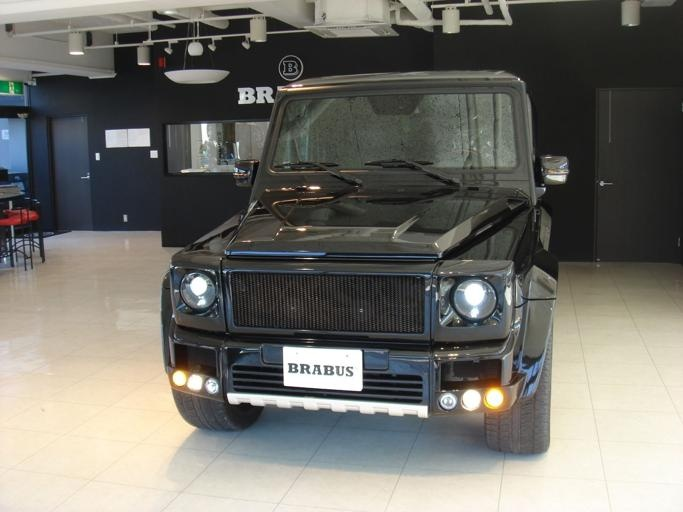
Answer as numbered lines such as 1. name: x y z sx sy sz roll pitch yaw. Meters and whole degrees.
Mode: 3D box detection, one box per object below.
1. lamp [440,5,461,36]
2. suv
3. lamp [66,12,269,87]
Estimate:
1. lamp: 1.615 -3.514 7.707 0.261 0.363 0.217 0 9 9
2. suv: 0.130 -0.005 2.725 1.830 2.061 1.416 2 10 21
3. lamp: -3.515 -4.308 10.685 2.865 0.841 1.165 1 -3 26
